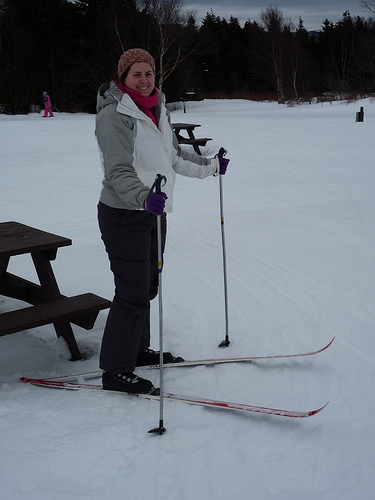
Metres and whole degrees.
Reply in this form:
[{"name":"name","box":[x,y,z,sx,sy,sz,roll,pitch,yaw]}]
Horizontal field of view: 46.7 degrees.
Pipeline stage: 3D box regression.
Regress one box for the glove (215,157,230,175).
[{"name":"glove","box":[0.224,-0.529,2.728,0.057,0.102,0.052,-1,11,-18]}]

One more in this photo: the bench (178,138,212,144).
[{"name":"bench","box":[0.162,-2.318,9.227,0.675,0.153,0.672,-1,13,13]}]

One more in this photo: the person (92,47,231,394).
[{"name":"person","box":[-0.197,-0.156,2.276,0.613,1.746,1.085,3,11,1]}]

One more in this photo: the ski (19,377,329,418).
[{"name":"ski","box":[0.056,0.840,2.306,0.169,0.118,2.143,-26,-36,36]}]

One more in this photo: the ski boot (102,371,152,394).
[{"name":"ski boot","box":[-0.304,0.658,2.208,0.266,0.111,0.090,1,11,6]}]

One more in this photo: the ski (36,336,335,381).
[{"name":"ski","box":[0.005,0.634,2.516,1.683,0.179,0.137,-6,-12,-9]}]
